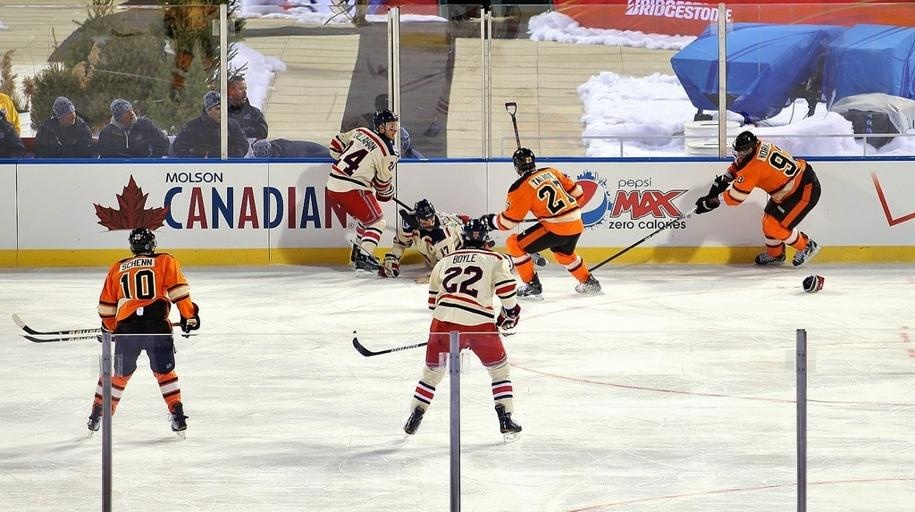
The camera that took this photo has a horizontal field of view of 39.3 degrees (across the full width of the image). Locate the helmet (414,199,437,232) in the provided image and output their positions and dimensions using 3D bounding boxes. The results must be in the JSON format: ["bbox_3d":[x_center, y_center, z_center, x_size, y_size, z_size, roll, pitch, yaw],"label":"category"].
[{"bbox_3d":[-0.393,-0.477,15.311,0.279,0.314,0.314,-24,55,-7],"label":"helmet"}]

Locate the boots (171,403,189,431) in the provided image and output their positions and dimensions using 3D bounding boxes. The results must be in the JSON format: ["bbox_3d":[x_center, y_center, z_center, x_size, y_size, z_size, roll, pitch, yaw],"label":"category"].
[{"bbox_3d":[-2.399,1.402,11.085,0.117,0.263,0.138,-3,0,-19],"label":"boots"}]

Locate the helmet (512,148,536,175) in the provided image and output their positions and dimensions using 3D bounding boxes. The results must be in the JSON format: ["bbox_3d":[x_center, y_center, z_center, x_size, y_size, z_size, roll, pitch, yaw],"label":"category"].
[{"bbox_3d":[0.776,-1.100,14.881,0.241,0.313,0.237,4,10,11],"label":"helmet"}]

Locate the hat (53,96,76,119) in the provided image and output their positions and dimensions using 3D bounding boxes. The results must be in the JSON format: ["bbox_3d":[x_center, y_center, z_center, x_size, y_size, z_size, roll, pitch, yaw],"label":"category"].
[{"bbox_3d":[-5.041,-1.907,16.311,0.219,0.201,0.286,-24,2,-36],"label":"hat"}]

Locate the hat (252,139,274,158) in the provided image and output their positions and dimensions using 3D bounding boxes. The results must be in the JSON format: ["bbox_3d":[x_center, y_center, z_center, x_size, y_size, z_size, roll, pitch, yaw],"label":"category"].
[{"bbox_3d":[-2.497,-1.399,16.480,0.311,0.235,0.209,-5,8,-12],"label":"hat"}]

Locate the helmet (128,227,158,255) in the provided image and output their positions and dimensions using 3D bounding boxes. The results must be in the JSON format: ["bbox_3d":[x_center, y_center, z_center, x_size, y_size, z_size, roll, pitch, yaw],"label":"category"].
[{"bbox_3d":[-3.033,-0.158,12.304,0.272,0.233,0.277,3,11,7],"label":"helmet"}]

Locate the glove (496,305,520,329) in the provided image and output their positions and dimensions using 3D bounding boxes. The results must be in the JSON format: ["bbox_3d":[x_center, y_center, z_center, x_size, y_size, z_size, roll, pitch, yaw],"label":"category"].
[{"bbox_3d":[0.482,0.580,12.244,0.176,0.257,0.127,18,-11,3],"label":"glove"}]

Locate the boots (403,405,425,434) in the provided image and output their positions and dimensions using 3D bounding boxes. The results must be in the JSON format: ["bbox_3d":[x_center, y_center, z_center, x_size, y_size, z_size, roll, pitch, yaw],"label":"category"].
[{"bbox_3d":[-0.376,1.430,11.134,0.161,0.266,0.116,40,-1,-3],"label":"boots"}]

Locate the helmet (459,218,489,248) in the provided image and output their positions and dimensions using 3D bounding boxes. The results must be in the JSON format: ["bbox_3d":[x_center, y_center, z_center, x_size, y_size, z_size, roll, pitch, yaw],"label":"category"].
[{"bbox_3d":[0.171,-0.213,12.087,0.254,0.236,0.282,1,20,2],"label":"helmet"}]

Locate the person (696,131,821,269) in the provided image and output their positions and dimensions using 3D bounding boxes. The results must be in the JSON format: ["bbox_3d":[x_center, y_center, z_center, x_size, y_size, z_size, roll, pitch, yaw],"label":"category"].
[{"bbox_3d":[3.834,-0.720,16.039,1.395,1.708,0.503,3,11,7],"label":"person"}]

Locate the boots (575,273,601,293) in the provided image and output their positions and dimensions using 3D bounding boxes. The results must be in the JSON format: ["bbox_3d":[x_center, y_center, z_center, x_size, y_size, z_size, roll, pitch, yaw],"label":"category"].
[{"bbox_3d":[1.518,0.336,14.992,0.331,0.177,0.178,3,5,14],"label":"boots"}]

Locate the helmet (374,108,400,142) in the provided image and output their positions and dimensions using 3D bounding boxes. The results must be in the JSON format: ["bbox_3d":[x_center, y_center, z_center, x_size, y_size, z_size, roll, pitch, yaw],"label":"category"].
[{"bbox_3d":[-0.883,-1.644,15.977,0.429,0.382,0.336,-1,12,2],"label":"helmet"}]

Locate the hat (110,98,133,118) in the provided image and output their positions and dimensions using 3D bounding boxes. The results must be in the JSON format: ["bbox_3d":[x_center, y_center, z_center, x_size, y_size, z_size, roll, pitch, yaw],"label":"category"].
[{"bbox_3d":[-4.275,-1.901,16.297,0.285,0.163,0.203,5,8,3],"label":"hat"}]

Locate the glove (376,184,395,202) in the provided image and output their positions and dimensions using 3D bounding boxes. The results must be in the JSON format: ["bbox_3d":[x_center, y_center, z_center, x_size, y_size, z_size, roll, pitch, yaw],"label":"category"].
[{"bbox_3d":[-0.937,-0.857,16.234,0.289,0.235,0.167,-5,46,-8],"label":"glove"}]

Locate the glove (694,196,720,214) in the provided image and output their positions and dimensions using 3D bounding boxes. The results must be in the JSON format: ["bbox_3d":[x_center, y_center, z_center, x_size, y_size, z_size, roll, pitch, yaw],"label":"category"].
[{"bbox_3d":[3.096,-0.646,15.980,0.345,0.113,0.185,-10,11,5],"label":"glove"}]

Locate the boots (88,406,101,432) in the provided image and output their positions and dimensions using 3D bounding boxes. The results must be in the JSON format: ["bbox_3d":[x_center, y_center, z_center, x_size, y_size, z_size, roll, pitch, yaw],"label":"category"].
[{"bbox_3d":[-3.097,1.407,10.992,0.105,0.172,0.279,7,9,-17],"label":"boots"}]

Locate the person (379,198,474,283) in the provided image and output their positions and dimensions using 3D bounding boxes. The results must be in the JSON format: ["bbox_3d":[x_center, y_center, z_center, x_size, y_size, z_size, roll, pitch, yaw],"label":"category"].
[{"bbox_3d":[-0.369,-0.256,15.719,0.936,0.501,1.300,7,10,17],"label":"person"}]

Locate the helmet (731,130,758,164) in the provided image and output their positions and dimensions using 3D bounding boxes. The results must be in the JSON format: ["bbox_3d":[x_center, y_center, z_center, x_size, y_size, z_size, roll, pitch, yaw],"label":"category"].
[{"bbox_3d":[3.541,-1.370,15.812,0.298,0.379,0.223,3,10,9],"label":"helmet"}]

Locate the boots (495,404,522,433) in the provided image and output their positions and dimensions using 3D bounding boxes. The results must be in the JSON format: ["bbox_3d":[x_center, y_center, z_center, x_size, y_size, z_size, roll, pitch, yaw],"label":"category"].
[{"bbox_3d":[0.427,1.420,11.130,0.238,0.221,0.097,7,12,30],"label":"boots"}]

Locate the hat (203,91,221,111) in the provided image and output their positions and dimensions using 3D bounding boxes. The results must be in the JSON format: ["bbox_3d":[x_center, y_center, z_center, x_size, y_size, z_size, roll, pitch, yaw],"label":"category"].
[{"bbox_3d":[-3.124,-1.987,16.323,0.206,0.201,0.226,1,34,-2],"label":"hat"}]
